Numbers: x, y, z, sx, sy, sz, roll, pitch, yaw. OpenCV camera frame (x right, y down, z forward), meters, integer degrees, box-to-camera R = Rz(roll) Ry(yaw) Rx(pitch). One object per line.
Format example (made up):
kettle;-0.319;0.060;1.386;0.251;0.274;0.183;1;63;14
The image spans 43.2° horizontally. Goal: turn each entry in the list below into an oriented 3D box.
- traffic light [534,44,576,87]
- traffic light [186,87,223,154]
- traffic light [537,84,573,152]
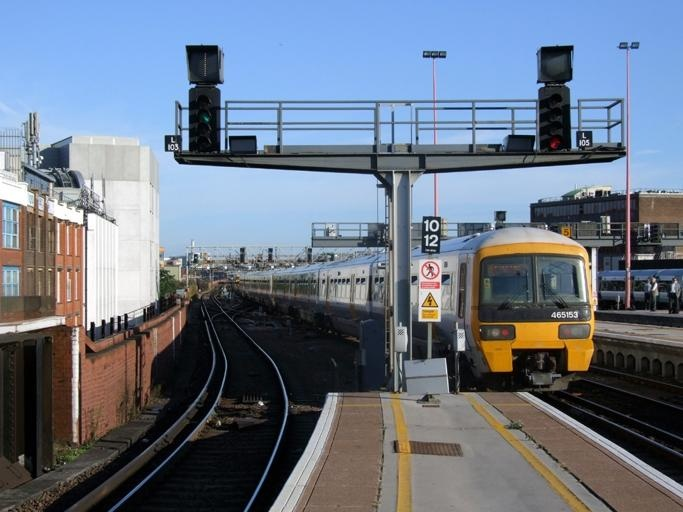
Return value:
traffic light;4.652;-4.208;18.798;0.736;0.840;1.198;2;6;12
traffic light;-3.023;-3.020;19.016;0.659;1.495;0.353;-1;6;-12
traffic light;4.764;-3.095;19.296;0.721;1.493;0.303;2;6;10
